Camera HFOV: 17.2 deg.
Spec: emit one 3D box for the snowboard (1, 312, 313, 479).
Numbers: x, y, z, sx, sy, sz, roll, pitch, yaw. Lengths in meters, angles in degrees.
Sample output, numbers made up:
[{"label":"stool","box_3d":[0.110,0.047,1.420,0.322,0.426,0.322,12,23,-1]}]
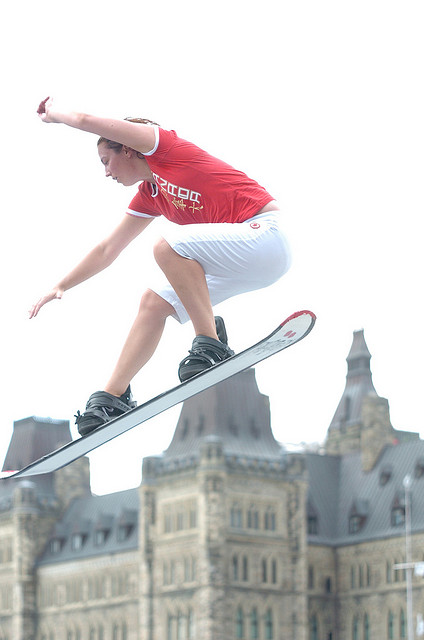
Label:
[{"label":"snowboard","box_3d":[-0.655,1.040,17.685,3.556,0.279,0.473,-34,-14,4]}]
